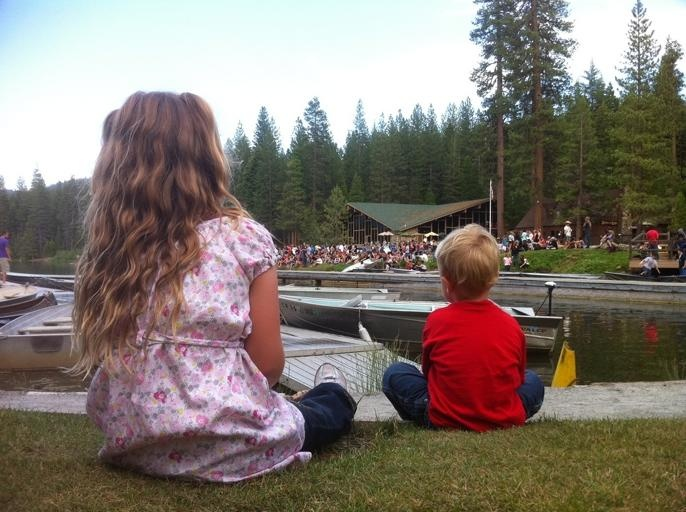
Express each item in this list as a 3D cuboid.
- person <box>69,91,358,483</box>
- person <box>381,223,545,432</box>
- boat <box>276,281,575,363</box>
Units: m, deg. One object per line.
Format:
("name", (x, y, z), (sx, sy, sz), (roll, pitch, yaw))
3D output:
("person", (-0.804, 0.168, 4.371), (1.408, 1.997, 0.645), (2, 0, -20))
("person", (0.810, 0.500, 5.334), (0.917, 1.424, 0.461), (2, 0, 18))
("boat", (1.287, 1.058, 12.297), (4.174, 1.052, 1.405), (4, 0, 39))
